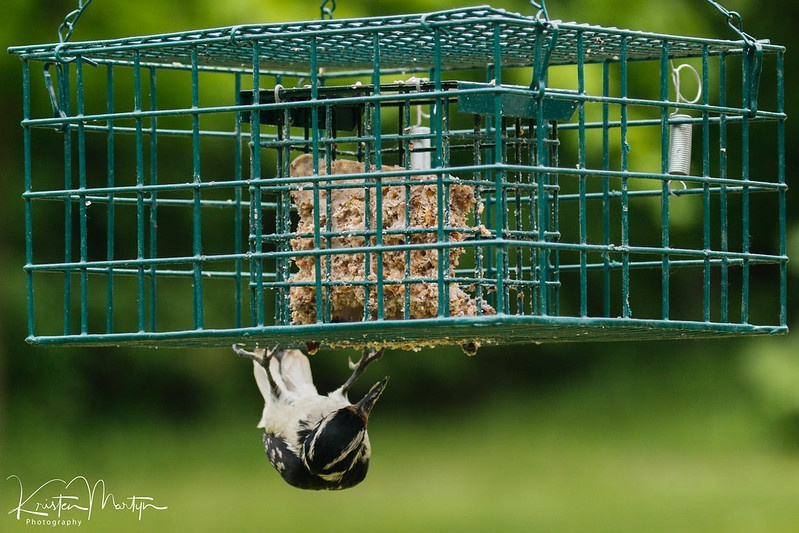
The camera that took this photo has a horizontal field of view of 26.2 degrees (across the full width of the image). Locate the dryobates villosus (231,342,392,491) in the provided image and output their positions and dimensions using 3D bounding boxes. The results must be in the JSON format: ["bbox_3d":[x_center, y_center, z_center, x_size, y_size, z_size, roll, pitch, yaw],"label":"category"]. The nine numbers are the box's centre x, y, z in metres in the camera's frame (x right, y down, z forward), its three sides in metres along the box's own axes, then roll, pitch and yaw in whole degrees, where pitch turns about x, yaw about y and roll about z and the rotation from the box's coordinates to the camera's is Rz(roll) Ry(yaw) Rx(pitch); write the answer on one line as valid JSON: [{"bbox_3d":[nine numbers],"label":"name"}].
[{"bbox_3d":[-0.600,1.045,12.611,0.658,1.425,1.642,0,5,-10],"label":"dryobates villosus"}]
